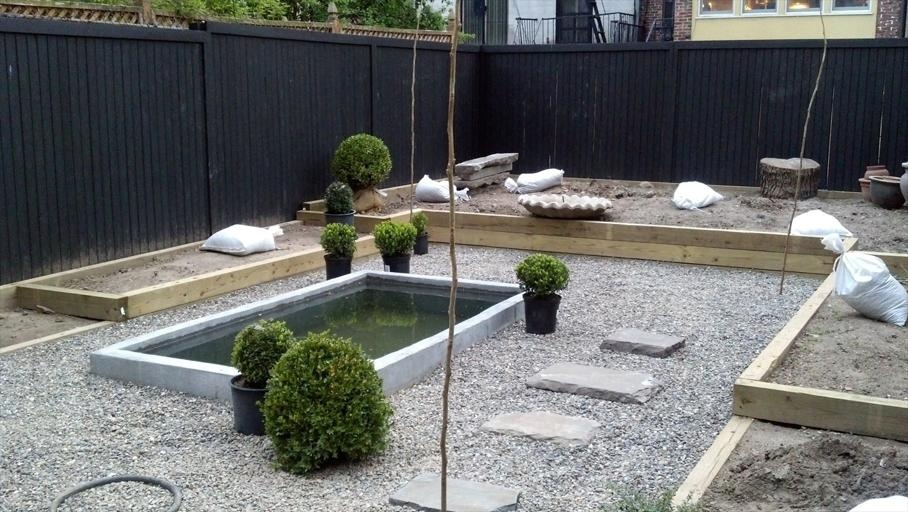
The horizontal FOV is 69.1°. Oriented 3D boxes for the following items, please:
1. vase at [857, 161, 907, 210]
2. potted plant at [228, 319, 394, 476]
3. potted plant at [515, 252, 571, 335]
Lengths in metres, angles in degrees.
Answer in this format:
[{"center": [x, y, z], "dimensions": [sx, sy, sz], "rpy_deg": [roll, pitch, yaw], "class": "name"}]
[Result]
[{"center": [7.704, -1.283, 12.340], "dimensions": [0.861, 0.713, 0.882], "rpy_deg": [-1, 8, 2], "class": "vase"}, {"center": [-1.399, 1.211, 6.095], "dimensions": [1.428, 0.955, 1.172], "rpy_deg": [28, 35, 34], "class": "potted plant"}, {"center": [1.017, 0.462, 8.133], "dimensions": [0.478, 0.951, 0.411], "rpy_deg": [-16, 26, -37], "class": "potted plant"}]
